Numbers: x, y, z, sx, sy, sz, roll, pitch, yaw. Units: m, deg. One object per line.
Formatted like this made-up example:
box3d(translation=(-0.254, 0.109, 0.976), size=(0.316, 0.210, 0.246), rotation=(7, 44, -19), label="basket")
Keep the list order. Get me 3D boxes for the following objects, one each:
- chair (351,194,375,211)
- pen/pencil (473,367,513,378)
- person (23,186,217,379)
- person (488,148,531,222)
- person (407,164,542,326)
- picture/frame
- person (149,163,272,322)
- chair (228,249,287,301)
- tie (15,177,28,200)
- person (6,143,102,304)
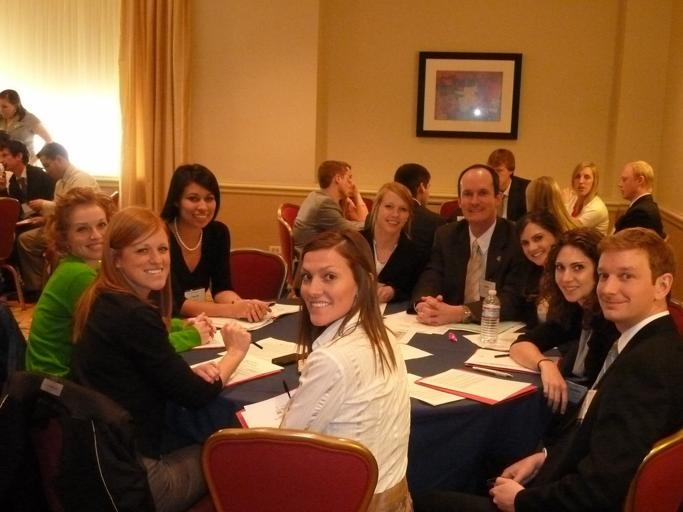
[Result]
box3d(translation=(0.235, -0.597, 5.965), size=(0.156, 0.239, 0.157), rotation=(-2, 4, -23), label="chair")
box3d(translation=(0.594, 0.455, 2.138), size=(0.013, 0.015, 0.124), rotation=(-1, 7, -44), label="pen/pencil")
box3d(translation=(-0.995, 0.163, 2.417), size=(0.790, 0.889, 0.482), rotation=(-2, -12, -16), label="person")
box3d(translation=(1.672, -0.800, 5.585), size=(0.326, 0.300, 0.943), rotation=(-1, -8, 13), label="person")
box3d(translation=(0.751, -0.052, 3.102), size=(0.610, 0.918, 0.799), rotation=(2, 1, 26), label="person")
box3d(translation=(1.428, -1.809, 5.886), size=(0.891, 0.808, 0.041), rotation=(2, 9, 5), label="picture/frame")
box3d(translation=(-0.738, -0.057, 3.043), size=(0.775, 0.837, 0.450), rotation=(8, 9, 36), label="person")
box3d(translation=(-0.510, 0.101, 3.589), size=(0.342, 0.457, 0.319), rotation=(1, 5, -3), label="chair")
box3d(translation=(-3.299, -0.700, 5.584), size=(0.146, 0.213, 0.067), rotation=(-2, 1, -10), label="tie")
box3d(translation=(-2.859, -0.367, 5.551), size=(0.761, 1.472, 0.575), rotation=(-1, 5, -39), label="person")
